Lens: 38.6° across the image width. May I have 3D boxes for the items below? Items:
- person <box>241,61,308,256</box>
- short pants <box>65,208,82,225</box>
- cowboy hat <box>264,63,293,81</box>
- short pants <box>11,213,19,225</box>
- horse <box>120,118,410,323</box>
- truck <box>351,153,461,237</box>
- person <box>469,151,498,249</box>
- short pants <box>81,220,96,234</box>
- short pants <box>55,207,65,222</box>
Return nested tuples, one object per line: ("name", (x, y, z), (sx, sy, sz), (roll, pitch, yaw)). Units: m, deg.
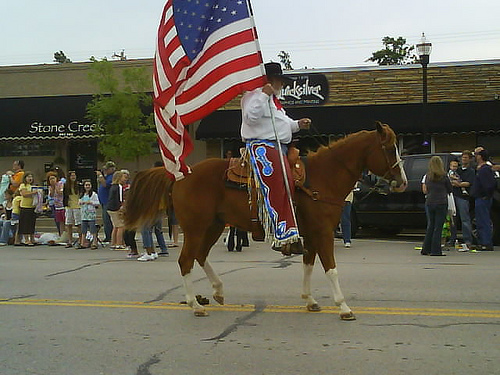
("person", (0.392, -0.504, 10.970), (0.819, 3.057, 0.692), (-1, -7, -33))
("short pants", (-4.914, 0.781, 20.019), (0.494, 0.469, 0.272), (1, -10, -7))
("cowboy hat", (0.423, -1.854, 11.380), (0.219, 0.252, 0.475), (-8, -7, 34))
("short pants", (-6.837, 0.890, 20.886), (0.226, 0.293, 0.171), (4, -2, 5))
("horse", (0.194, 0.564, 11.502), (4.717, 3.006, 1.122), (-1, 1, 6))
("truck", (4.147, 0.179, 19.659), (3.160, 1.547, 1.848), (0, -1, 27))
("person", (5.624, 0.274, 17.300), (0.680, 2.349, 1.023), (-6, -6, 16))
("short pants", (-4.461, 1.068, 19.809), (0.448, 0.397, 0.147), (1, 1, 2))
("short pants", (-5.539, 0.774, 20.960), (0.255, 0.407, 0.450), (-3, -6, -18))
